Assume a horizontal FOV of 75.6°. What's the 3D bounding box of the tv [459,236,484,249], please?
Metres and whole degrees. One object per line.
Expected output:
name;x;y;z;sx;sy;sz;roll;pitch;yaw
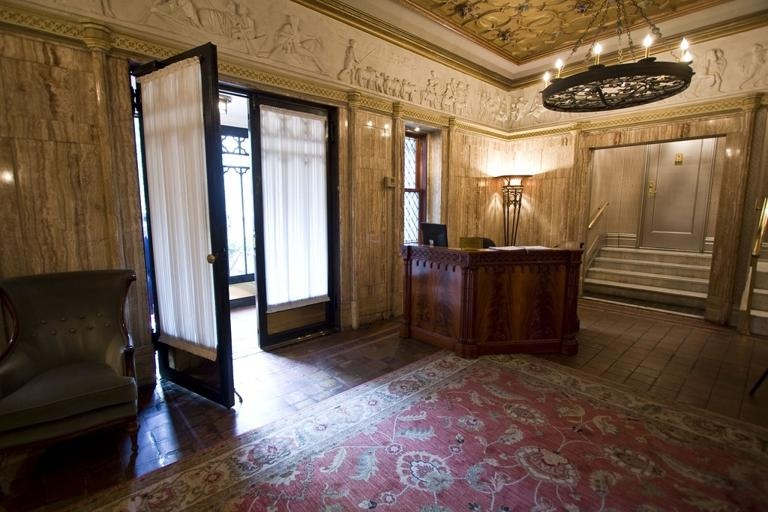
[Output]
tv;1.189;-0.180;6.760;0.296;0.150;0.240;3;11;10

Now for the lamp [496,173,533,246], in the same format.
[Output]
lamp;2.538;-0.919;10.016;0.491;1.423;0.565;1;11;4

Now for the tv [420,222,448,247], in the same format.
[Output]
tv;0.802;-0.375;7.254;0.335;0.418;0.469;-11;13;-43
